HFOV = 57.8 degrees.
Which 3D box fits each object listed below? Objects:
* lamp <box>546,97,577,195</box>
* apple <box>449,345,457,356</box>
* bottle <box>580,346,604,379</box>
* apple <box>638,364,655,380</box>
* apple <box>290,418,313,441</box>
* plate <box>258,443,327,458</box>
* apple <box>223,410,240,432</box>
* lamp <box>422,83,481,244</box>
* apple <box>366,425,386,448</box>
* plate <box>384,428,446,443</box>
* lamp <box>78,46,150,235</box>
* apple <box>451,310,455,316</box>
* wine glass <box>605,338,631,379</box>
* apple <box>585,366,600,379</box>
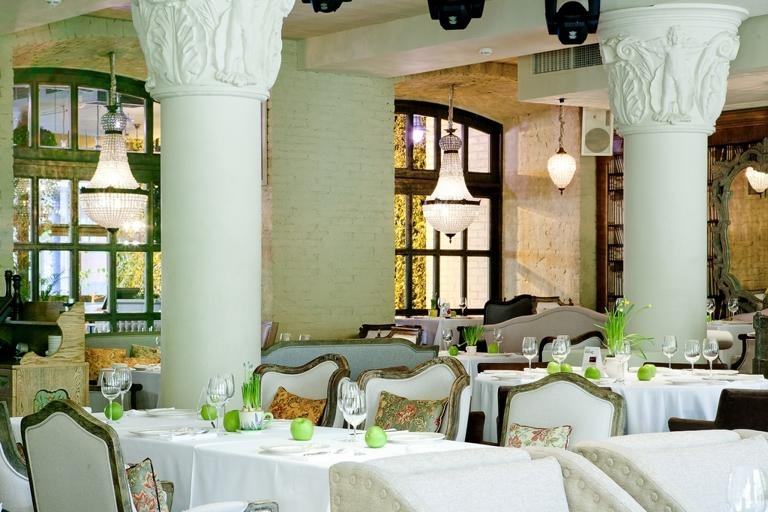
[{"bbox_3d":[3.281,-2.059,13.093,0.491,1.678,1.084,-1,-3,15],"label":"lamp"},{"bbox_3d":[0.737,1.042,7.624,0.075,0.079,0.092,14,-44,-1],"label":"apple"},{"bbox_3d":[1.763,0.897,5.999,0.263,0.366,0.201,-1,-6,16],"label":"bottle"},{"bbox_3d":[2.191,0.979,5.924,0.125,0.132,0.133,-1,9,24],"label":"apple"},{"bbox_3d":[-0.465,0.968,3.970,0.114,0.121,0.118,-1,2,22],"label":"apple"},{"bbox_3d":[-0.481,1.021,3.711,0.370,0.041,0.177,-1,-4,-6],"label":"plate"},{"bbox_3d":[-0.924,1.007,4.301,0.108,0.113,0.110,2,5,26],"label":"apple"},{"bbox_3d":[1.143,-1.769,12.221,0.891,2.851,2.057,-1,-3,8],"label":"lamp"},{"bbox_3d":[-0.054,0.984,3.810,0.111,0.107,0.126,-1,-3,-3],"label":"apple"},{"bbox_3d":[0.162,1.033,3.991,0.317,0.035,0.298,-1,-4,0],"label":"plate"},{"bbox_3d":[-3.746,-1.630,9.896,0.927,2.721,2.510,0,-3,-23],"label":"lamp"},{"bbox_3d":[1.205,1.036,12.646,0.072,0.090,0.076,0,-3,17],"label":"apple"},{"bbox_3d":[1.968,0.889,6.005,0.197,0.317,0.424,-2,-3,17],"label":"wine glass"},{"bbox_3d":[1.696,0.952,5.786,0.094,0.094,0.096,1,7,-3],"label":"apple"}]
